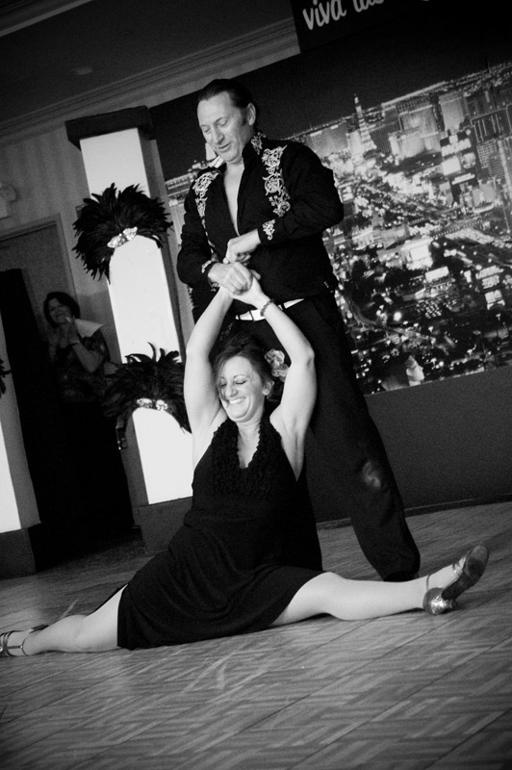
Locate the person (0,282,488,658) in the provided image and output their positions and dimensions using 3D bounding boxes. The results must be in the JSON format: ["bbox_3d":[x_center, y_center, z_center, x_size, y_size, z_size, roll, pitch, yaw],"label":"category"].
[{"bbox_3d":[-0.048,0.289,2.747,2.090,1.457,0.709,-5,-18,6],"label":"person"}]

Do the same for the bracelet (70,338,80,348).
[{"bbox_3d":[-1.372,-0.313,4.919,0.071,0.064,0.064,5,7,42],"label":"bracelet"}]

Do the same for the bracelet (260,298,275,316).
[{"bbox_3d":[0.024,-0.213,1.804,0.033,0.014,0.039,4,61,60],"label":"bracelet"}]
